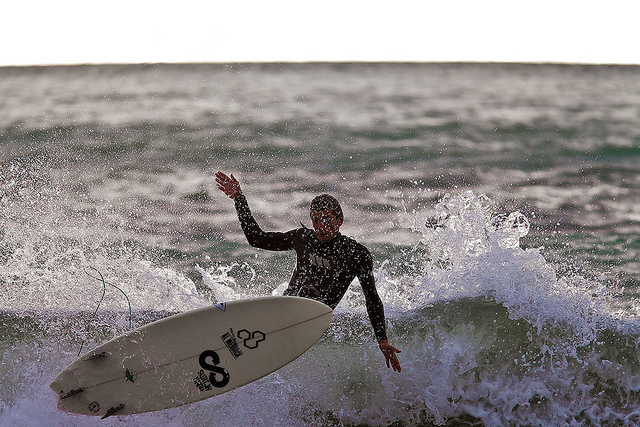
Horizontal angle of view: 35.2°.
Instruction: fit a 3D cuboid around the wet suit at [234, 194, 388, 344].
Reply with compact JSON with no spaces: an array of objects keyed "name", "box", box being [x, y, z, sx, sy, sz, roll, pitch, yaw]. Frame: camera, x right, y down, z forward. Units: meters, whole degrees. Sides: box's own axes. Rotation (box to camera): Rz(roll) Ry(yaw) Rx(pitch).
[{"name":"wet suit","box":[-0.168,0.975,16.158,2.474,0.915,1.261,14,89,15]}]
